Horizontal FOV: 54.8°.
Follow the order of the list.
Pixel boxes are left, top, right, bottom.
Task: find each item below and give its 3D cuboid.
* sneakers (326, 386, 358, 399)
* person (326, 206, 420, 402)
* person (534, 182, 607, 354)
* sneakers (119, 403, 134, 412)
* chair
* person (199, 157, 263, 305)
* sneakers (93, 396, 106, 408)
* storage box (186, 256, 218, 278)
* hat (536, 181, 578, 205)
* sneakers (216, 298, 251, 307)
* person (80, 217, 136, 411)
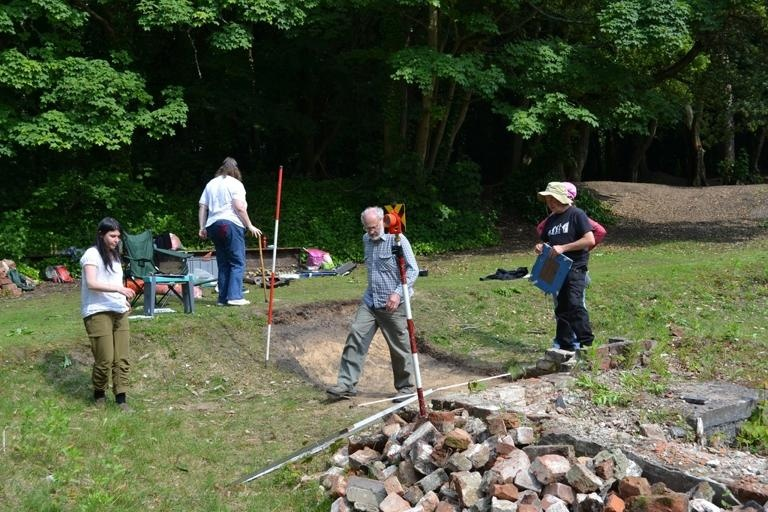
[{"bbox_3d":[-0.713,2.362,12.737,0.501,0.227,0.216,13,-4,-23],"label":"sneakers"},{"bbox_3d":[-0.201,0.851,12.852,1.249,3.289,0.940,-5,14,-6],"label":"person"},{"bbox_3d":[3.287,0.239,13.131,1.010,3.032,1.217,-4,14,0],"label":"person"},{"bbox_3d":[-4.215,2.493,12.162,0.295,0.202,0.108,-9,1,30],"label":"sneakers"},{"bbox_3d":[-4.640,0.323,15.034,1.191,1.603,1.284,3,4,37],"label":"chair"},{"bbox_3d":[-3.165,-0.406,15.015,1.011,2.998,0.933,10,20,42],"label":"person"},{"bbox_3d":[-4.649,2.404,12.118,0.158,0.119,0.155,-3,-11,14],"label":"sneakers"},{"bbox_3d":[-4.502,0.423,18.528,0.924,0.638,0.505,1,-9,-15],"label":"storage box"},{"bbox_3d":[3.164,-1.146,13.177,0.526,0.258,0.479,-3,12,-27],"label":"hat"},{"bbox_3d":[-3.092,0.962,15.167,0.616,0.263,0.222,-2,-1,0],"label":"sneakers"},{"bbox_3d":[-4.466,0.945,11.960,0.823,3.028,0.536,-10,16,-25],"label":"person"}]
